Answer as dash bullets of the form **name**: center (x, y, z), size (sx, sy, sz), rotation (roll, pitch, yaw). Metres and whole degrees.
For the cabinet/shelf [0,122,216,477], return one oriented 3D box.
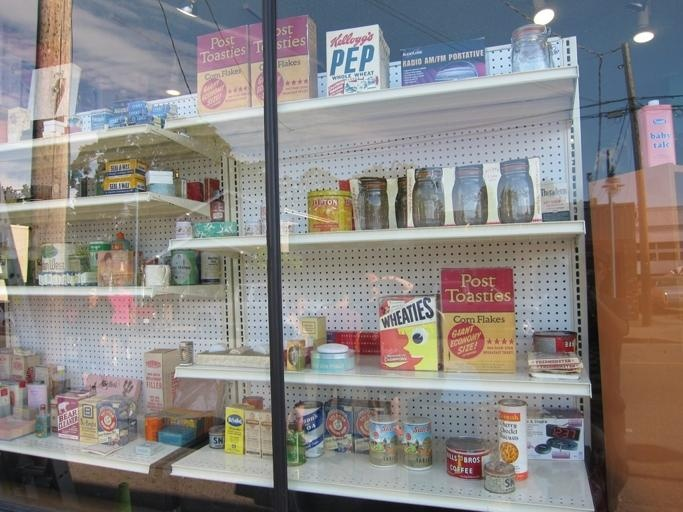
- **cabinet/shelf**: center (-1.208, 0.243, 3.470), size (1.794, 1.804, 0.607), rotation (0, -3, 13)

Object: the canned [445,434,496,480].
- **canned**: center (0.579, 0.918, 2.943), size (0.195, 0.166, 0.117), rotation (-4, -6, 26)

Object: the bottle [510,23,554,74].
- **bottle**: center (0.872, -0.951, 3.023), size (0.218, 0.254, 0.173), rotation (1, 2, 32)

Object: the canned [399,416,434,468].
- **canned**: center (0.362, 0.870, 3.034), size (0.160, 0.229, 0.120), rotation (-1, -5, -8)

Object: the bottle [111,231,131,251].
- **bottle**: center (-1.188, -0.085, 3.491), size (0.104, 0.097, 0.025), rotation (-3, -5, 11)

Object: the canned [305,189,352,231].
- **canned**: center (-0.065, -0.205, 3.088), size (0.188, 0.218, 0.191), rotation (1, -2, -15)

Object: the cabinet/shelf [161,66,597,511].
- **cabinet/shelf**: center (0.256, 0.164, 3.066), size (2.080, 2.050, 0.700), rotation (-1, -1, 12)

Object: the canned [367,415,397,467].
- **canned**: center (0.197, 0.863, 3.024), size (0.171, 0.202, 0.177), rotation (0, -5, 2)
